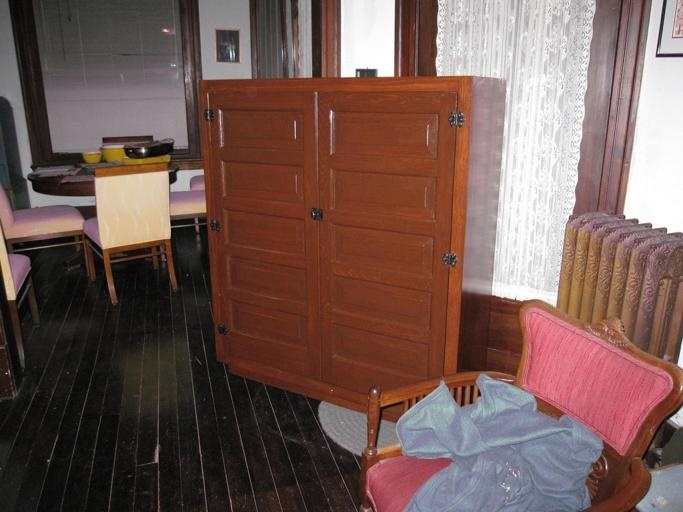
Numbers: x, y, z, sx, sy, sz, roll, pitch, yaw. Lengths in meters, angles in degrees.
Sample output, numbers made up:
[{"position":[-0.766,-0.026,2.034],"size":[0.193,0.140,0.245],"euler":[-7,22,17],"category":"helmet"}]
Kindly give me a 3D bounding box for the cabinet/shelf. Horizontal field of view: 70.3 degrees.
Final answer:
[{"position":[-0.006,-0.050,2.652],"size":[1.558,2.072,0.699],"euler":[8,19,28],"category":"cabinet/shelf"}]
